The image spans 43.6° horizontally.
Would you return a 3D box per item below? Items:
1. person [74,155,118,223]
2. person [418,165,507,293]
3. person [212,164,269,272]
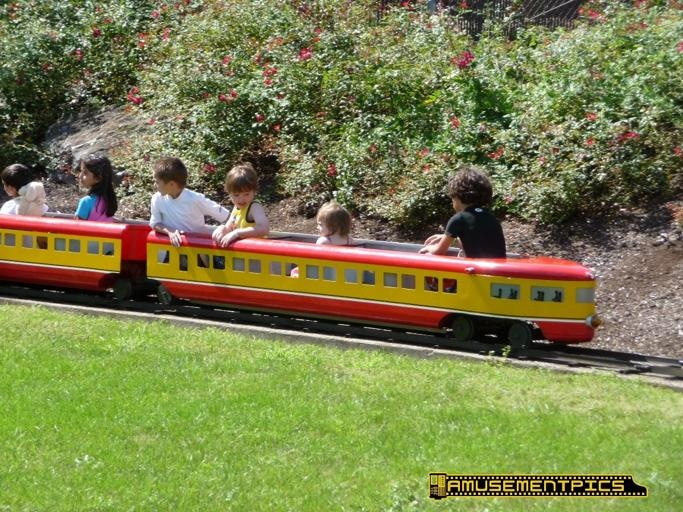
[{"bbox_3d":[-3.476,-0.959,12.059,0.539,0.914,0.520,2,5,-12],"label":"person"},{"bbox_3d":[1.553,-0.479,10.189,0.940,1.189,1.264,-22,21,-36],"label":"person"},{"bbox_3d":[-1.297,-0.657,10.984,0.690,1.091,0.469,2,5,-5],"label":"person"}]
